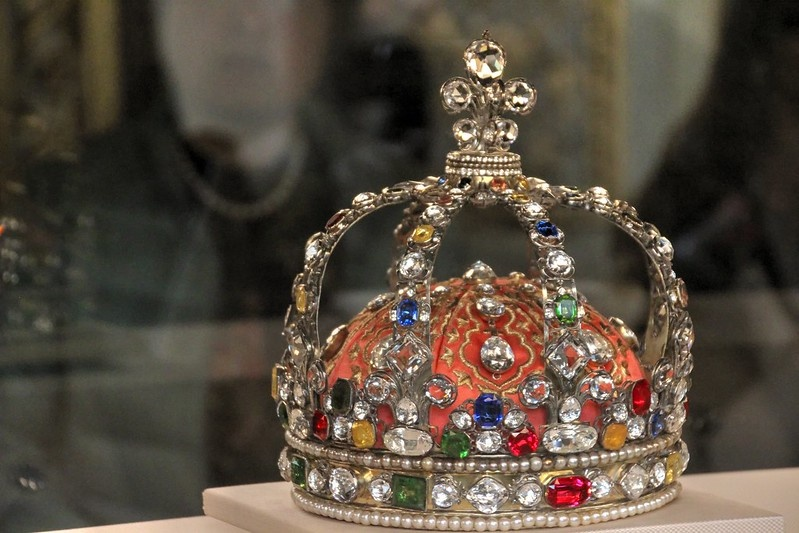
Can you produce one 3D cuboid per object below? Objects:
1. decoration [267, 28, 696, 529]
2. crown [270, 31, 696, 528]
[{"bbox_3d":[0.142,0.019,2.004,0.695,0.754,0.741,0,1,-7],"label":"decoration"},{"bbox_3d":[0.133,0.020,2.014,0.697,0.757,0.739,0,1,-6],"label":"crown"}]
